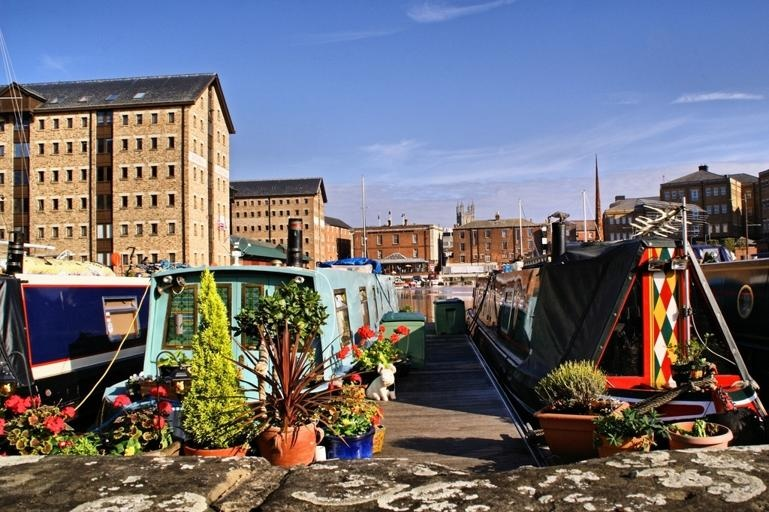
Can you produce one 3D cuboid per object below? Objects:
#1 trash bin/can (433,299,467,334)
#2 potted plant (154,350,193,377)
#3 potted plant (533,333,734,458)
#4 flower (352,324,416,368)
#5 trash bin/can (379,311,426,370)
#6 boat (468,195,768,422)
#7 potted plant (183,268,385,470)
[{"bbox_3d":[2.165,1.859,23.491,1.139,1.148,1.792,-3,10,-3],"label":"trash bin/can"},{"bbox_3d":[-3.100,1.572,10.182,0.414,0.212,0.513,1,-7,-7],"label":"potted plant"},{"bbox_3d":[3.140,1.892,8.986,2.086,0.797,1.319,-1,-5,7],"label":"potted plant"},{"bbox_3d":[-0.144,1.649,12.294,1.029,0.710,1.005,2,-5,-15],"label":"flower"},{"bbox_3d":[0.189,1.894,15.341,1.062,0.937,0.788,0,-8,-6],"label":"trash bin/can"},{"bbox_3d":[3.866,1.034,13.820,2.721,3.261,9.133,-1,-4,-4],"label":"boat"},{"bbox_3d":[-1.253,1.598,9.393,2.667,3.028,2.294,4,-8,-43],"label":"potted plant"}]
